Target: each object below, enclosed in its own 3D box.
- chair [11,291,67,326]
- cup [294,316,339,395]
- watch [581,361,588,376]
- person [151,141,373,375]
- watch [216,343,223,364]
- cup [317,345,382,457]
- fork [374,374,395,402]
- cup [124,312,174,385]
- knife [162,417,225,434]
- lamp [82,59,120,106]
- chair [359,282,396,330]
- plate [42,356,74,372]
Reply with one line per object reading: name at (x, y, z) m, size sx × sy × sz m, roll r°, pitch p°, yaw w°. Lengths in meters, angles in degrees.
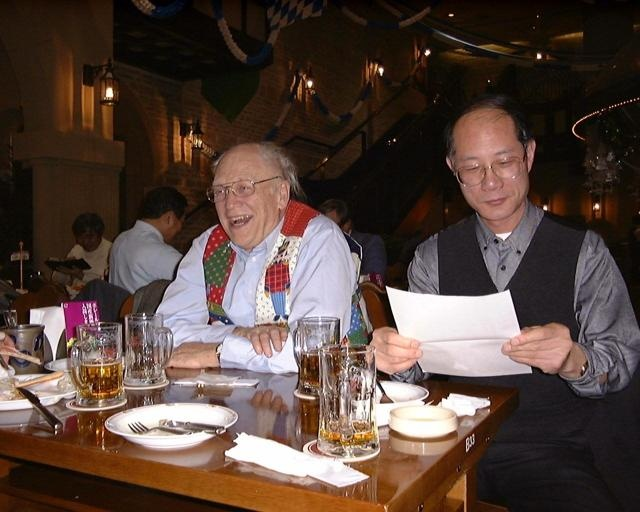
chair at (-1.703, 0.295, 3.249) m, size 0.215 × 0.237 × 0.574 m, roll -5°, pitch 9°, yaw -38°
cup at (0.005, 0.284, 1.546) m, size 0.120 × 0.207 × 0.205 m, roll -3°, pitch -6°, yaw 9°
watch at (0.807, 0.343, 1.635) m, size 0.014 × 0.032 × 0.031 m, roll 29°, pitch -13°, yaw 9°
person at (-0.265, -0.063, 2.106) m, size 0.831 × 0.794 × 0.867 m, roll 3°, pitch 8°, yaw 17°
watch at (-0.329, 0.313, 1.769) m, size 0.017 × 0.053 × 0.052 m, roll 2°, pitch 28°, yaw -5°
cup at (0.058, 0.291, 1.068) m, size 0.118 × 0.199 × 0.107 m, roll 1°, pitch 8°, yaw -1°
fork at (0.168, 0.343, 1.417) m, size 0.022 × 0.020 × 0.108 m, roll -3°, pitch 23°, yaw -15°
cup at (-0.441, 0.271, 1.534) m, size 0.191 × 0.207 × 0.125 m, roll 0°, pitch -3°, yaw 26°
knife at (-0.273, 0.363, 1.149) m, size 0.103 × 0.014 × 0.022 m, roll 0°, pitch -1°, yaw 13°
lamp at (-2.927, -2.320, 7.232) m, size 0.416 × 0.573 × 0.222 m, roll -4°, pitch 0°, yaw -8°
chair at (0.353, 0.290, 3.081) m, size 0.193 × 0.297 × 0.193 m, roll -6°, pitch 14°, yaw 22°
plate at (-0.801, 0.330, 1.633) m, size 0.087 × 0.013 × 0.089 m, roll 7°, pitch 9°, yaw 12°
